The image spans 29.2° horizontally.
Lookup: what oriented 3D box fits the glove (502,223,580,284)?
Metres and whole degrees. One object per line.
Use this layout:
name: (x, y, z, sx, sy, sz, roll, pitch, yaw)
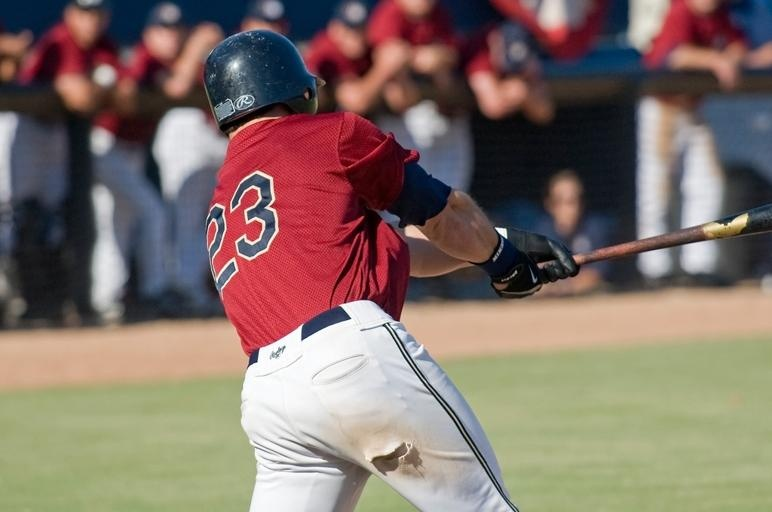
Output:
glove: (1.503, -0.062, 14.796, 0.806, 0.315, 0.437, 30, 38, -19)
